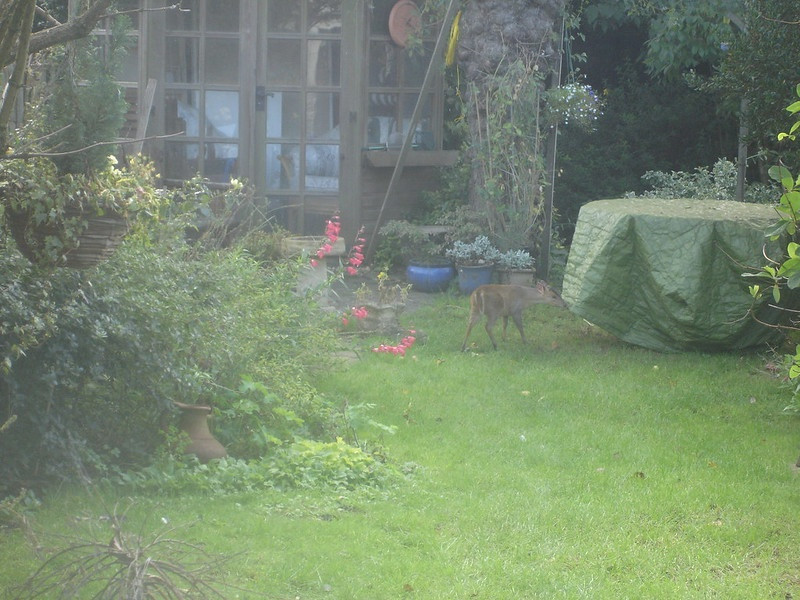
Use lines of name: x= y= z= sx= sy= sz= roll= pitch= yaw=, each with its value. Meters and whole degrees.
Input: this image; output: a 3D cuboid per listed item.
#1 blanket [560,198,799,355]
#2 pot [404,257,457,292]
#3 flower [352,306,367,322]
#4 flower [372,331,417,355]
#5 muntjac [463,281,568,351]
blanket: x=2.535 y=-0.194 z=10.127 sx=2.003 sy=1.366 sz=0.984 roll=7 pitch=9 yaw=20
pot: x=0.350 y=-0.272 z=12.520 sx=0.379 sy=0.258 sz=0.410 roll=0 pitch=0 yaw=0
flower: x=-0.376 y=0.124 z=10.045 sx=0.113 sy=0.073 sz=0.124 roll=3 pitch=-7 yaw=7
flower: x=-0.052 y=0.397 z=10.203 sx=0.403 sy=0.221 sz=0.799 roll=3 pitch=9 yaw=-1
muntjac: x=1.145 y=0.152 z=10.751 sx=1.047 sy=0.712 sz=0.294 roll=-1 pitch=13 yaw=-15
